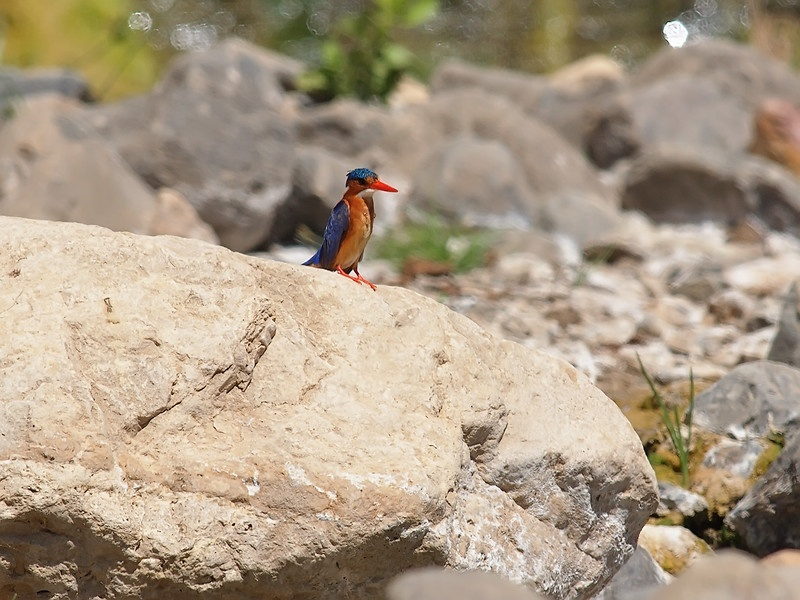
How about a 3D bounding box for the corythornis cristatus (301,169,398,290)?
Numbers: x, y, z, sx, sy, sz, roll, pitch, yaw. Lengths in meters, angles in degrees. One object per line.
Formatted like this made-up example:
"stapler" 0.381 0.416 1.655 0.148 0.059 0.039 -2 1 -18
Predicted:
"corythornis cristatus" -0.425 -0.552 12.758 0.855 0.831 0.345 5 8 36
